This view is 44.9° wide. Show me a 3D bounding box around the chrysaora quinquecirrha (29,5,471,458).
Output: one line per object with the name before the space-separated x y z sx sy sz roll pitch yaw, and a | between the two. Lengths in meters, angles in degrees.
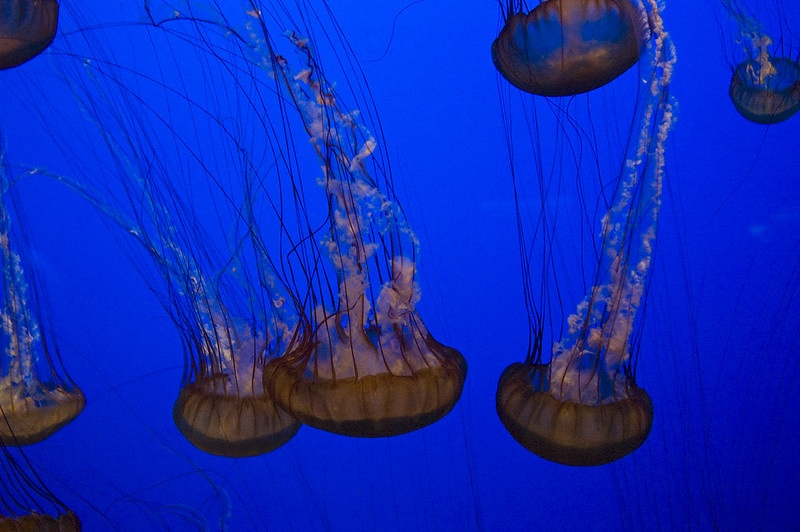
chrysaora quinquecirrha | -0.565 -0.117 4.521 1.208 2.281 0.730 -20 1 -2
